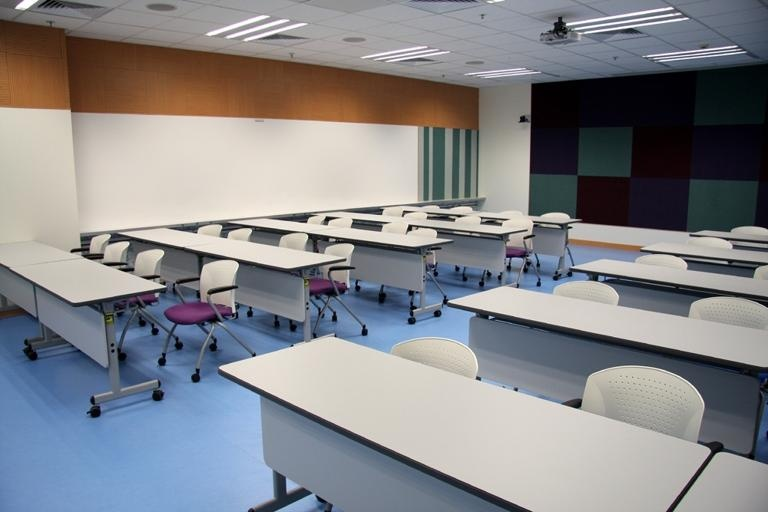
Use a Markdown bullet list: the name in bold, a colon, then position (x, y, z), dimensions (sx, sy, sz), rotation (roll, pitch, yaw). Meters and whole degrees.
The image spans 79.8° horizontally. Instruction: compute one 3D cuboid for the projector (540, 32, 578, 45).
- **projector**: position (2.555, -3.175, 6.705), dimensions (0.419, 0.146, 0.403), rotation (5, 12, 32)
